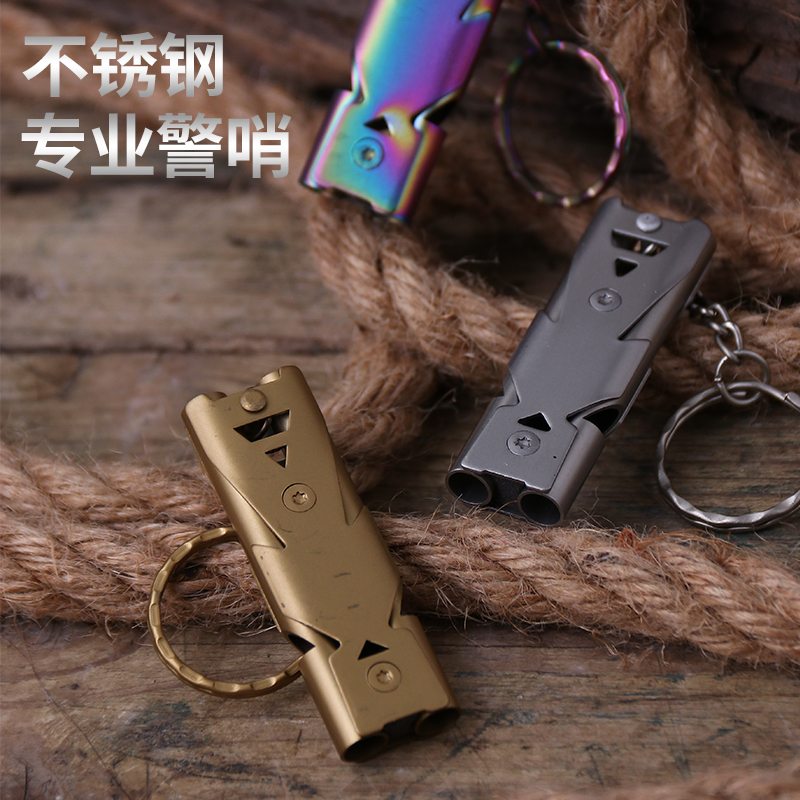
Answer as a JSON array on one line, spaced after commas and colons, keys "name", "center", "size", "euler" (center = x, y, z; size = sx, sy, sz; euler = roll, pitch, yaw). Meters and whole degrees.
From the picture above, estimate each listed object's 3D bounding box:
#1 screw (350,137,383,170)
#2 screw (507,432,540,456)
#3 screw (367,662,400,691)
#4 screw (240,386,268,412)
[{"name": "screw", "center": [-0.060, -0.439, 1.900], "size": [0.079, 0.015, 0.049], "euler": [-4, 86, 4]}, {"name": "screw", "center": [0.183, 0.064, 1.584], "size": [0.043, 0.021, 0.043], "euler": [14, 37, -5]}, {"name": "screw", "center": [-0.021, 0.359, 1.385], "size": [0.046, 0.007, 0.030], "euler": [0, 59, -9]}, {"name": "screw", "center": [-0.216, -0.002, 1.564], "size": [0.047, 0.009, 0.030], "euler": [-2, 63, -12]}]
